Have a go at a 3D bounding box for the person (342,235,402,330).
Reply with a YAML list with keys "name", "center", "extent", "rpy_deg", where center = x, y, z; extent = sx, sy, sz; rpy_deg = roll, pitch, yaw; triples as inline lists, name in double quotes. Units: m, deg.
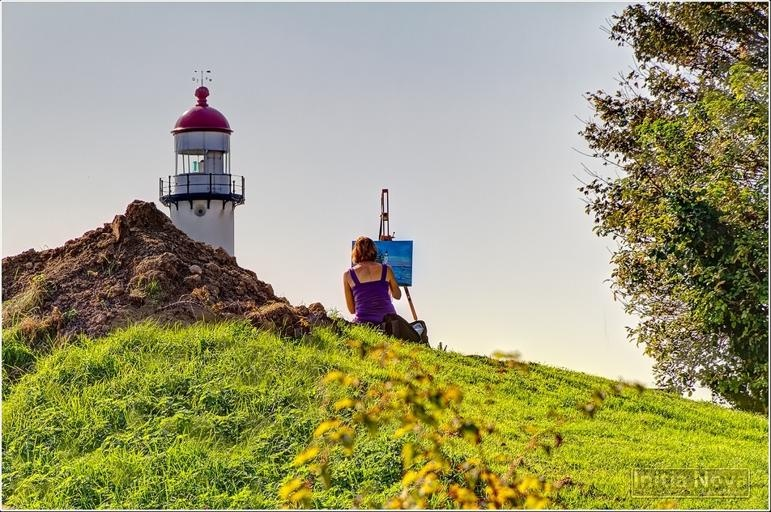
- name: "person"
  center: [-0.214, 0.824, 15.872]
  extent: [0.967, 2.351, 1.242]
  rpy_deg: [-8, -13, 14]
